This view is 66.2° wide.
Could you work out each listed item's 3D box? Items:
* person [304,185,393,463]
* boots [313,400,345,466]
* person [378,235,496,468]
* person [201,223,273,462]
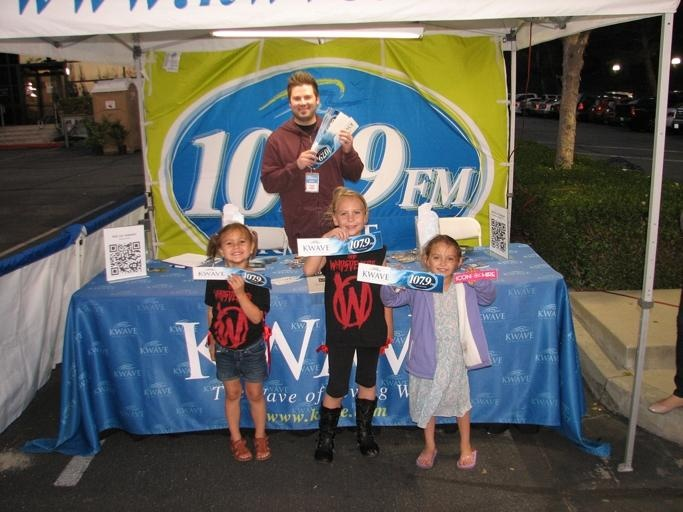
[{"bbox_3d":[0.080,0.542,4.049,0.666,2.076,0.444,-3,15,-7],"label":"person"},{"bbox_3d":[-0.100,1.395,4.138,0.165,0.364,0.470,9,1,-2],"label":"boots"},{"bbox_3d":[0.746,0.736,3.897,0.821,1.741,0.452,0,15,4],"label":"person"},{"bbox_3d":[-0.768,0.684,3.988,0.485,1.844,0.372,-1,15,1],"label":"person"}]
